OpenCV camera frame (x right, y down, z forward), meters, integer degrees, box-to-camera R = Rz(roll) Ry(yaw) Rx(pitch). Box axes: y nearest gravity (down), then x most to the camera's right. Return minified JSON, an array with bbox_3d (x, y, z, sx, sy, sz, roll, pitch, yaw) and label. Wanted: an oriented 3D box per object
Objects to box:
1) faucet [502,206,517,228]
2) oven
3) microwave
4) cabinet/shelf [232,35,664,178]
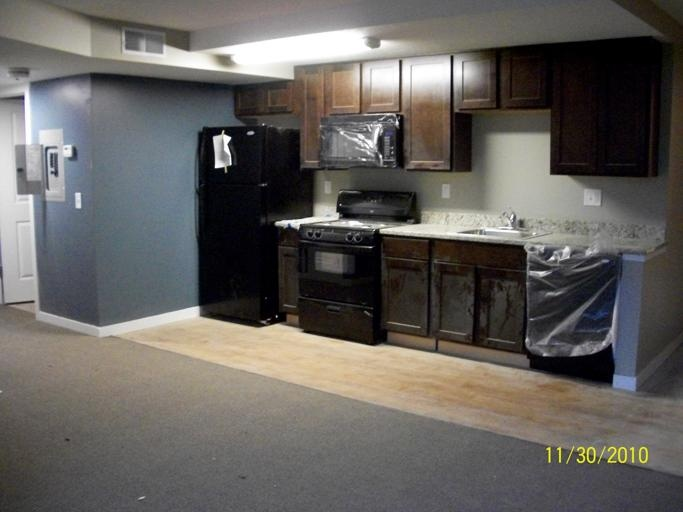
[{"bbox_3d":[1.505,-0.339,4.761,0.145,0.178,0.137,5,12,25],"label":"faucet"},{"bbox_3d":[0.137,0.247,5.250,0.955,0.989,0.747,4,8,32],"label":"oven"},{"bbox_3d":[0.288,-1.075,5.235,0.871,0.539,0.509,6,7,40],"label":"microwave"},{"bbox_3d":[0.973,-1.274,4.754,3.310,1.055,0.364,5,12,27],"label":"cabinet/shelf"}]
